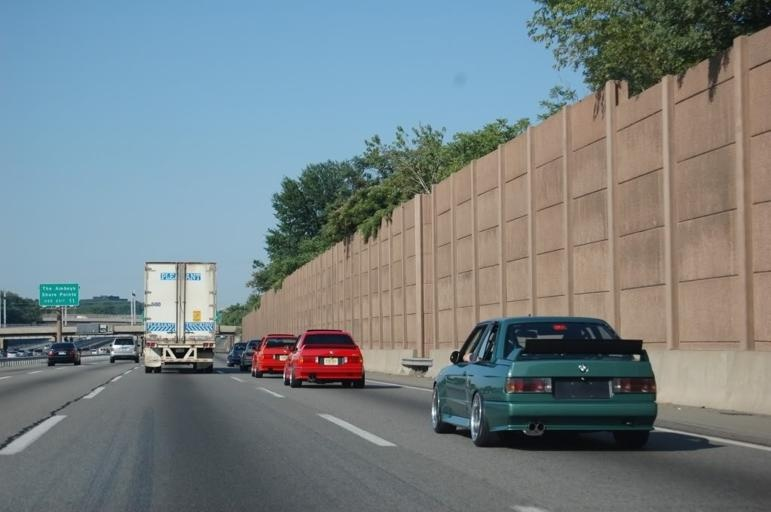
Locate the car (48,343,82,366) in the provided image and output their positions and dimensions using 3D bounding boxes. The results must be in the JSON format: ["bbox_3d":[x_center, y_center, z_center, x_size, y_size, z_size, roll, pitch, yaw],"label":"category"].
[{"bbox_3d":[-26.116,7.873,60.048,1.924,2.068,3.474,1,-11,-5],"label":"car"}]

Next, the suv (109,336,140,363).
[{"bbox_3d":[-23.928,8.670,68.839,2.168,1.918,4.445,0,1,-9],"label":"suv"}]

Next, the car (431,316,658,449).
[{"bbox_3d":[2.767,2.146,12.975,3.652,2.269,2.098,-3,-11,18],"label":"car"}]
